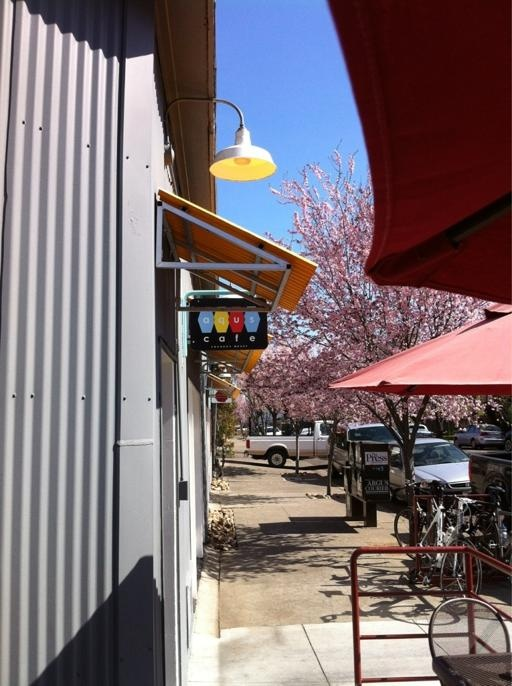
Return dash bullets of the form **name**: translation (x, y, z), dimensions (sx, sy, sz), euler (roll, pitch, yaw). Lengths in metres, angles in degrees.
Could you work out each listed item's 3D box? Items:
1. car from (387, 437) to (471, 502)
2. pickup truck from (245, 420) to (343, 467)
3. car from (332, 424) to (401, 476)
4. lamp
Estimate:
- **car**: translation (4.020, 2.799, 12.635), dimensions (1.326, 1.259, 3.272), euler (0, -2, -1)
- **pickup truck**: translation (1.501, 4.634, 24.725), dimensions (3.854, 1.615, 2.027), euler (-4, -7, 6)
- **car**: translation (3.259, 3.431, 17.758), dimensions (1.524, 1.509, 2.914), euler (0, -1, 0)
- **lamp**: translation (-0.235, -1.330, 3.642), dimensions (0.633, 0.482, 0.373), euler (-1, 4, 3)
